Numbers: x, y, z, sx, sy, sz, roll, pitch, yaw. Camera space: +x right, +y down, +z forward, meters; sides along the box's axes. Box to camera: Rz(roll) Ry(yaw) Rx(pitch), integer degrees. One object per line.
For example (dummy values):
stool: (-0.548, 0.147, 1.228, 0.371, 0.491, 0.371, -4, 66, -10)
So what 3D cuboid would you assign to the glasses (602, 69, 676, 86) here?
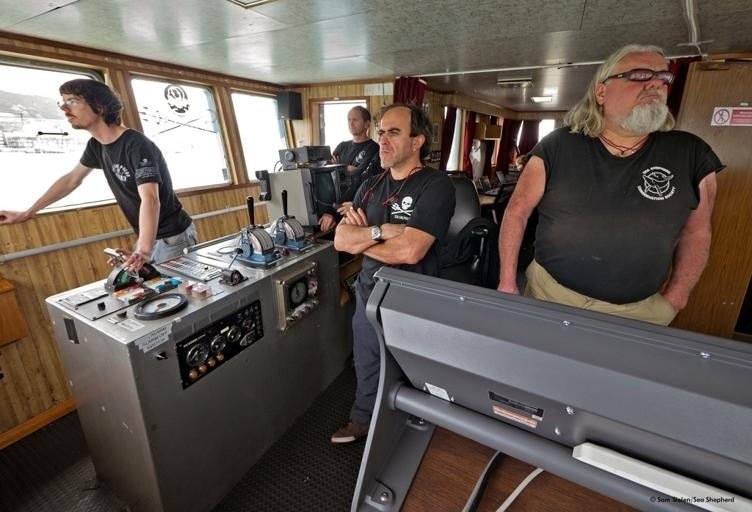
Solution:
glasses: (1.331, -0.900, 2.164, 0.321, 0.087, 0.106, 4, 22, 20)

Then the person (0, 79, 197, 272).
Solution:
person: (-1.745, -0.512, 2.881, 1.282, 1.278, 0.843, 8, 25, 28)

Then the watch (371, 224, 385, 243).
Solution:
watch: (0.008, -0.132, 2.533, 0.070, 0.086, 0.068, -2, 22, 6)

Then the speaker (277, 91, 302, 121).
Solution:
speaker: (-1.189, -2.053, 5.820, 0.236, 0.362, 0.411, 4, 11, 25)

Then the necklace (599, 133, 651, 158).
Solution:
necklace: (1.246, -0.547, 2.156, 0.142, 0.144, 0.039, 0, -10, 18)
